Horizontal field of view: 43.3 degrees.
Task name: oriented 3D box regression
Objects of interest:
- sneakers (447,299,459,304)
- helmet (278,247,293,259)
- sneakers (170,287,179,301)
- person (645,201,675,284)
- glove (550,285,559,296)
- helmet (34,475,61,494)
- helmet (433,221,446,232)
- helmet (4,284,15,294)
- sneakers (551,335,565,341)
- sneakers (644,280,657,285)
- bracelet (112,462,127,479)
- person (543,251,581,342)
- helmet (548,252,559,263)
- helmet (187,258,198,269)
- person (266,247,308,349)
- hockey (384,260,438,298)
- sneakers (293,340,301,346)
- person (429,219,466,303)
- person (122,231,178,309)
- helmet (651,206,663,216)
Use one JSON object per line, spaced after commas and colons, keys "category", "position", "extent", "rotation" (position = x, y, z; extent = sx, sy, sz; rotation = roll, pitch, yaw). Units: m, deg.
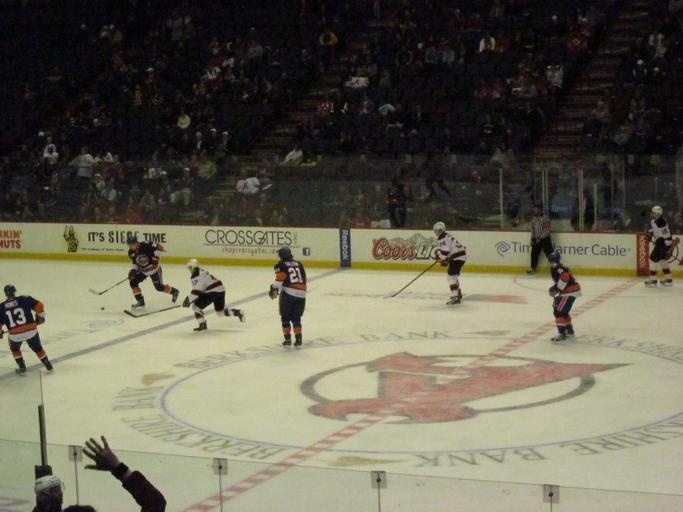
{"category": "sneakers", "position": [2.534, 1.044, 18.971], "extent": [0.204, 0.070, 0.108], "rotation": [3, -6, -39]}
{"category": "helmet", "position": [-1.004, -0.020, 15.602], "extent": [0.253, 0.299, 0.297], "rotation": [1, 44, -3]}
{"category": "sneakers", "position": [-3.839, 0.934, 19.662], "extent": [0.133, 0.343, 0.151], "rotation": [0, 19, 1]}
{"category": "person", "position": [7.594, -0.236, 20.088], "extent": [0.617, 1.894, 0.986], "rotation": [2, 12, 20]}
{"category": "glove", "position": [3.869, 0.652, 15.291], "extent": [0.175, 0.222, 0.166], "rotation": [0, 11, 13]}
{"category": "helmet", "position": [-2.634, 2.045, 7.629], "extent": [0.223, 0.158, 0.172], "rotation": [-18, 4, -13]}
{"category": "helmet", "position": [2.350, -0.661, 19.983], "extent": [0.312, 0.256, 0.285], "rotation": [8, 50, -1]}
{"category": "helmet", "position": [-5.542, 0.589, 14.243], "extent": [0.147, 0.201, 0.302], "rotation": [-7, 12, -23]}
{"category": "sneakers", "position": [4.015, 1.521, 15.585], "extent": [0.278, 0.101, 0.089], "rotation": [0, 3, -36]}
{"category": "sneakers", "position": [7.347, 0.647, 20.071], "extent": [0.254, 0.108, 0.090], "rotation": [2, 7, 10]}
{"category": "bracelet", "position": [-2.033, 1.987, 7.842], "extent": [0.122, 0.098, 0.165], "rotation": [-52, 18, -24]}
{"category": "person", "position": [4.082, 0.778, 15.484], "extent": [0.560, 1.633, 0.605], "rotation": [1, 11, 14]}
{"category": "helmet", "position": [3.918, 0.047, 15.450], "extent": [0.208, 0.186, 0.154], "rotation": [0, 2, -7]}
{"category": "helmet", "position": [-2.993, 0.177, 17.194], "extent": [0.224, 0.195, 0.172], "rotation": [22, 8, 19]}
{"category": "person", "position": [-0.946, 0.790, 15.728], "extent": [0.636, 1.854, 0.748], "rotation": [-3, 11, -3]}
{"category": "hockey", "position": [1.865, 0.635, 21.646], "extent": [0.256, 0.083, 1.927], "rotation": [18, -29, -28]}
{"category": "sneakers", "position": [-0.779, 1.645, 15.821], "extent": [0.120, 0.087, 0.166], "rotation": [0, -5, 1]}
{"category": "person", "position": [2.504, 0.154, 19.253], "extent": [0.674, 1.808, 1.043], "rotation": [-1, 11, 7]}
{"category": "person", "position": [-4.450, 0.333, 19.860], "extent": [0.953, 1.631, 1.246], "rotation": [-5, 11, -14]}
{"category": "helmet", "position": [7.377, -1.032, 19.804], "extent": [0.314, 0.294, 0.232], "rotation": [4, -2, -34]}
